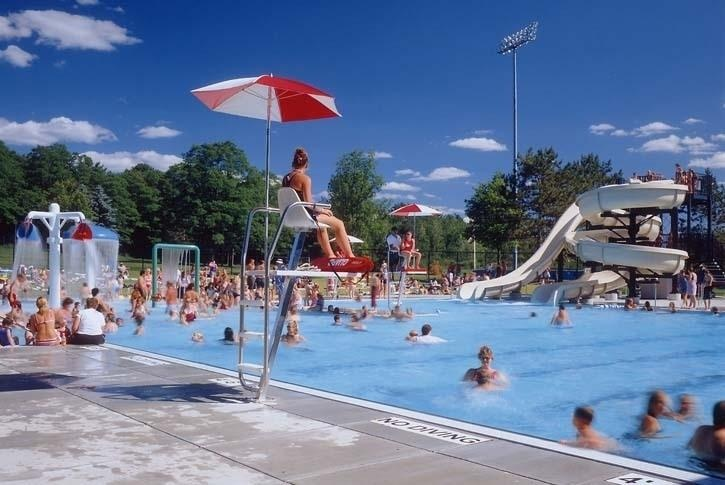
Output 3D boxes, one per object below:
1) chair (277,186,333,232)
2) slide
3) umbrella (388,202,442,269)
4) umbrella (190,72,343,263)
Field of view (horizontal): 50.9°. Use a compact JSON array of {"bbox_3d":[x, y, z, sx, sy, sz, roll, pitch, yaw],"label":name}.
[{"bbox_3d":[-1.829,-0.937,21.613,1.325,1.207,0.622,1,-3,3],"label":"chair"},{"bbox_3d":[12.486,-0.309,39.497,6.816,9.921,6.820,2,-3,-23],"label":"slide"},{"bbox_3d":[2.840,-1.196,40.297,3.328,5.265,2.171,1,0,-12],"label":"umbrella"},{"bbox_3d":[-3.132,-4.178,24.546,4.935,5.354,5.173,-4,8,-35],"label":"umbrella"}]
